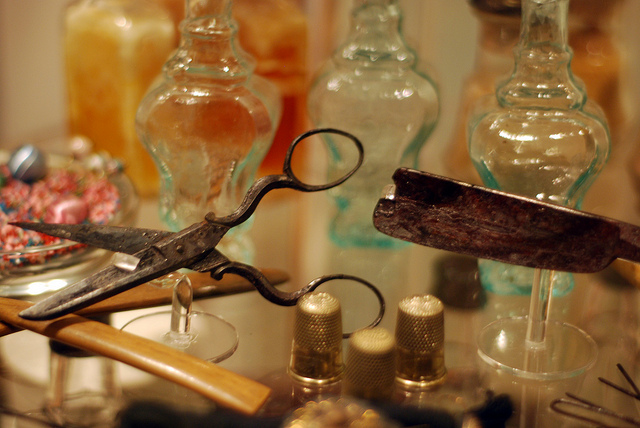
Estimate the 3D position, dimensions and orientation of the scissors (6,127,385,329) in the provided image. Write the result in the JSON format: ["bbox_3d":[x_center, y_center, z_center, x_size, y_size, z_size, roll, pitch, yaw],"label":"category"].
[{"bbox_3d":[-0.128,-0.035,0.906,0.381,0.211,0.454,-3,26,-2],"label":"scissors"}]
